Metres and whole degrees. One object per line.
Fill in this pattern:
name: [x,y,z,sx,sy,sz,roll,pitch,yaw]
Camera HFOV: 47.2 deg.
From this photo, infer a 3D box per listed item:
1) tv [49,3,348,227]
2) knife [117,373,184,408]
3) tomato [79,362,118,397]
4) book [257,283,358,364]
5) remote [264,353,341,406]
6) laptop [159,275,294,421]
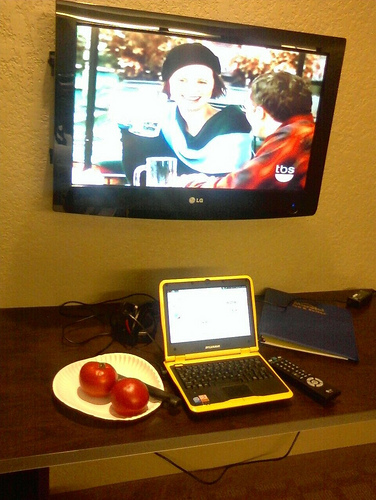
tv: [0.007,-0.328,1.040,0.703,0.440,0.048,0,24,-17]
knife: [-0.072,0.266,0.833,0.152,0.017,0.027,18,25,39]
tomato: [-0.166,0.233,0.826,0.068,0.058,0.065,9,9,-3]
book: [0.319,0.195,1.163,0.251,0.042,0.270,11,25,18]
remote: [0.240,0.266,0.889,0.047,0.023,0.169,-9,22,-27]
laptop: [0.066,0.213,0.922,0.229,0.172,0.265,-3,22,-18]
